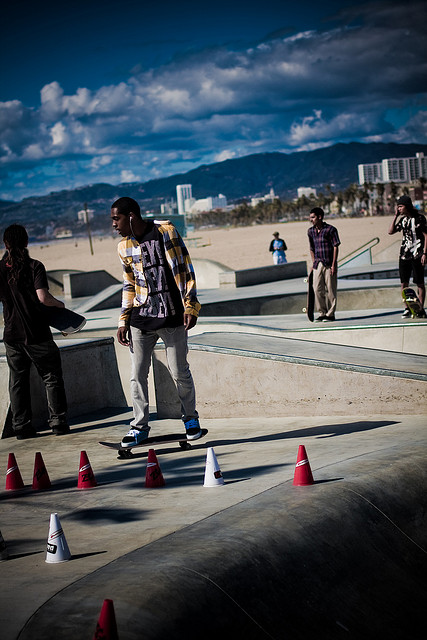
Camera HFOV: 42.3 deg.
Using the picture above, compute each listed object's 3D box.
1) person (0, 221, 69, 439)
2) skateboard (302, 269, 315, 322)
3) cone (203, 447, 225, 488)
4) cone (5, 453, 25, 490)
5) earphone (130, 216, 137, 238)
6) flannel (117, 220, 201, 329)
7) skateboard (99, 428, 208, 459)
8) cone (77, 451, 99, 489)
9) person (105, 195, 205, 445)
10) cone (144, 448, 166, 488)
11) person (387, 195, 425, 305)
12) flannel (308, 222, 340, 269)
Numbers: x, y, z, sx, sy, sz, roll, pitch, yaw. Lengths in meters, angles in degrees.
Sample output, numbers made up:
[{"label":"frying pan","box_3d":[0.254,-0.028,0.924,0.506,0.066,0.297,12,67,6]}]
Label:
[{"label":"person","box_3d":[-1.543,0.098,4.697,0.584,1.834,0.329,-10,9,-15]},{"label":"skateboard","box_3d":[1.420,-0.336,8.134,0.229,0.823,0.127,-4,12,-14]},{"label":"cone","box_3d":[-0.011,0.781,2.954,0.115,0.200,0.185,-7,9,-3]},{"label":"cone","box_3d":[-1.207,0.901,3.297,0.110,0.219,0.139,-10,9,-21]},{"label":"earphone","box_3d":[-0.547,-0.628,3.711,0.027,0.138,0.033,-8,9,-7]},{"label":"flannel","box_3d":[-0.439,-0.303,3.834,0.554,0.694,0.241,-13,-7,9]},{"label":"skateboard","box_3d":[-0.409,0.880,3.910,0.641,0.107,0.181,-7,10,-17]},{"label":"cone","box_3d":[-0.735,0.839,3.154,0.118,0.247,0.167,-9,9,-15]},{"label":"person","box_3d":[-0.416,-0.008,3.849,0.650,1.708,0.478,-7,9,-1]},{"label":"cone","box_3d":[-0.341,0.825,3.084,0.119,0.222,0.214,-8,9,-8]},{"label":"person","box_3d":[2.621,-0.943,7.343,0.442,1.402,0.630,-6,9,6]},{"label":"flannel","box_3d":[1.597,-0.913,7.883,0.492,0.909,0.203,4,15,41]}]
